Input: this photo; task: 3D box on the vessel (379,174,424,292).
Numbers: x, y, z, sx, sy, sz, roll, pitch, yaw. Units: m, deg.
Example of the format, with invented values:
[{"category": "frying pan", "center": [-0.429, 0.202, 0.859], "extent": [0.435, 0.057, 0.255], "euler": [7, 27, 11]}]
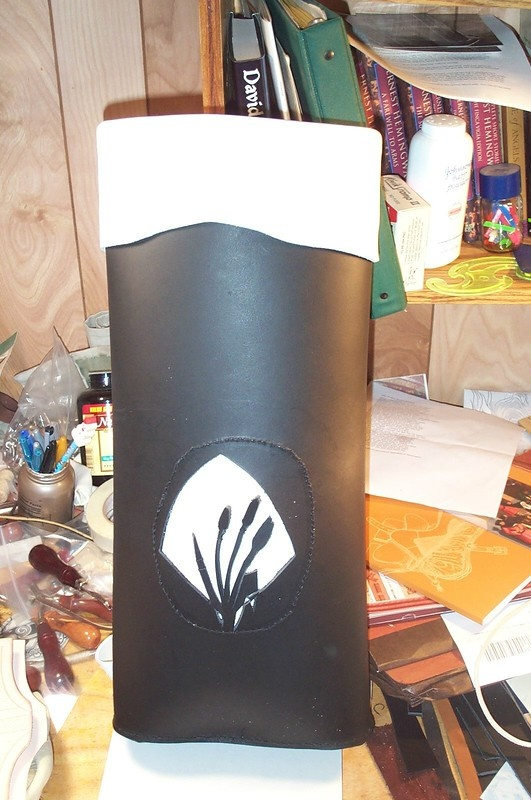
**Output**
[{"category": "vessel", "center": [0.177, -0.196, 0.766], "extent": [0.033, 0.101, 0.101], "euler": [-3, 19, 10]}]

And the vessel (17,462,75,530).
[{"category": "vessel", "center": [-0.289, 0.124, 0.821], "extent": [0.064, 0.103, 0.068], "euler": [18, 34, 8]}]

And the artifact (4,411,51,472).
[{"category": "artifact", "center": [-0.349, 0.057, 0.876], "extent": [0.094, 0.097, 0.038], "euler": [4, 6, 30]}]
